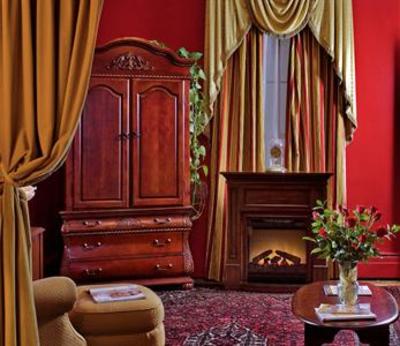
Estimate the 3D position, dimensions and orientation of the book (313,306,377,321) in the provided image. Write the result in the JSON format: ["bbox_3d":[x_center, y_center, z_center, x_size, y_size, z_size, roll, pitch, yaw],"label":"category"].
[{"bbox_3d":[0.778,0.764,2.246,0.304,0.026,0.134,0,2,10],"label":"book"}]

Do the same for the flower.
[{"bbox_3d":[1.176,0.551,3.315,0.823,0.642,0.853,0,-7,17],"label":"flower"}]
